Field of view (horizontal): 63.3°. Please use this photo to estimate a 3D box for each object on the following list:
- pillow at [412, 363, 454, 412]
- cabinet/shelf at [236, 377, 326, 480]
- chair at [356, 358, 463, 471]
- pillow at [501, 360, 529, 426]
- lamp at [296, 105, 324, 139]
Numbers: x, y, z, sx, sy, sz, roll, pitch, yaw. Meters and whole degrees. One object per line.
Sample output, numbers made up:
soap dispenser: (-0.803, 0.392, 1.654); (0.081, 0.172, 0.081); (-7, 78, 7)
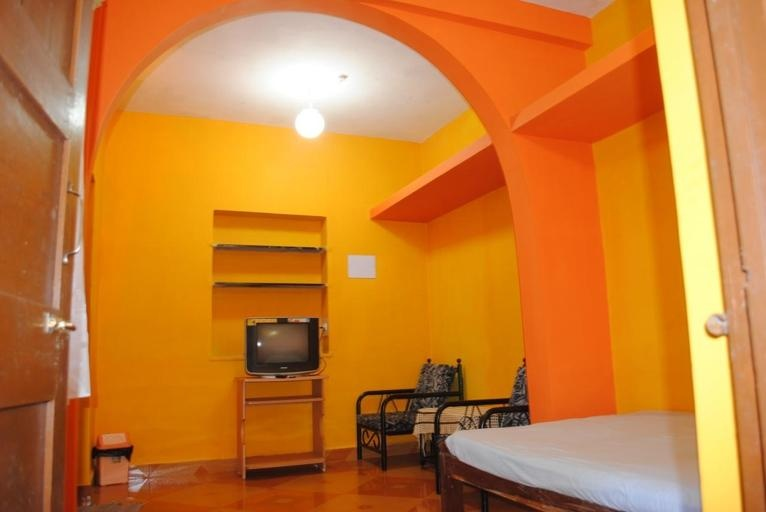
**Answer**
pillow: (0.563, 1.300, 6.224); (0.133, 0.444, 0.457); (20, -9, -31)
cabinet/shelf: (-1.020, 1.695, 6.075); (0.811, 0.887, 0.457); (4, -13, -26)
chair: (0.265, 1.541, 6.180); (0.959, 0.976, 0.740); (5, -10, -32)
pillow: (1.049, 1.060, 4.827); (0.151, 0.504, 0.336); (6, -11, 18)
lamp: (-0.677, -1.235, 5.740); (0.241, 0.276, 0.165); (-4, 1, 0)
